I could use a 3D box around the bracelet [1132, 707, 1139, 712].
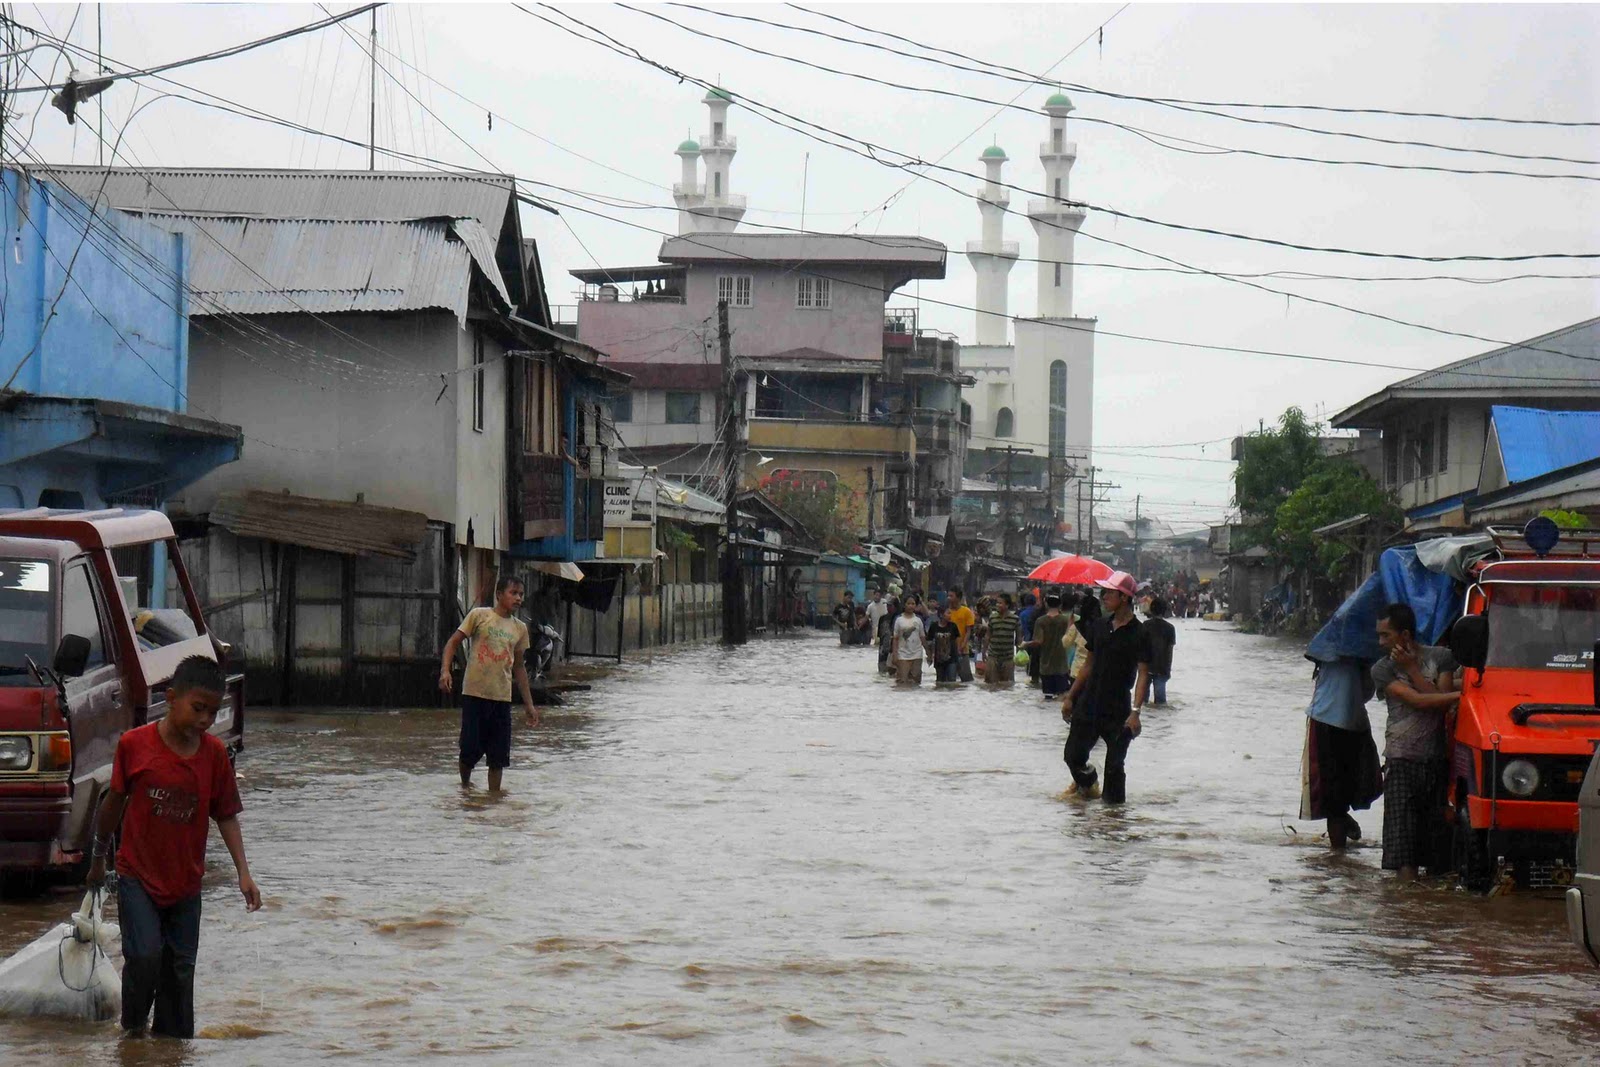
[{"bbox_3d":[3.332,1.730,20.330,0.037,0.039,0.039,13,3,26],"label":"bracelet"}]

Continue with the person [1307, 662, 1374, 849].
[{"bbox_3d":[4.897,1.961,18.493,0.655,1.707,0.304,1,-1,5],"label":"person"}]
